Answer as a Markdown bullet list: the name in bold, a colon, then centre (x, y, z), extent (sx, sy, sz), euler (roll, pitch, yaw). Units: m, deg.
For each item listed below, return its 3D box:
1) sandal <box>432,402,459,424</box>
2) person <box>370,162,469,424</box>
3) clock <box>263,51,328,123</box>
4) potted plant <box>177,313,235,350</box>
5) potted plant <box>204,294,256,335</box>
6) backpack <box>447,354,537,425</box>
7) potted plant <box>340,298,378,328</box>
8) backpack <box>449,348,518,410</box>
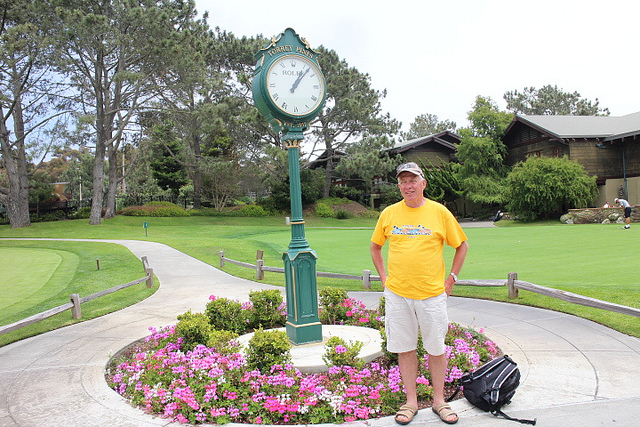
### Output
- **sandal**: centre (1.770, 2.783, 6.313), extent (0.158, 0.128, 0.349), euler (-4, 0, -13)
- **person**: centre (1.413, 1.088, 6.481), extent (1.294, 3.587, 0.796), euler (-1, 6, 7)
- **clock**: centre (-0.441, -2.320, 8.328), extent (1.189, 1.298, 0.212), euler (-5, 6, -23)
- **potted plant**: centre (-1.997, 2.099, 7.859), extent (0.710, 0.461, 0.688), euler (5, -6, -36)
- **potted plant**: centre (-1.726, 1.967, 8.857), extent (0.845, 0.597, 0.817), euler (5, -1, 7)
- **backpack**: centre (2.520, 2.421, 6.516), extent (0.823, 0.675, 0.375), euler (-37, -31, -10)
- **potted plant**: centre (0.774, 2.033, 9.227), extent (0.553, 0.377, 0.525), euler (4, -4, -6)
- **backpack**: centre (2.538, 2.525, 6.735), extent (0.859, 0.601, 0.350), euler (-23, -31, -20)
